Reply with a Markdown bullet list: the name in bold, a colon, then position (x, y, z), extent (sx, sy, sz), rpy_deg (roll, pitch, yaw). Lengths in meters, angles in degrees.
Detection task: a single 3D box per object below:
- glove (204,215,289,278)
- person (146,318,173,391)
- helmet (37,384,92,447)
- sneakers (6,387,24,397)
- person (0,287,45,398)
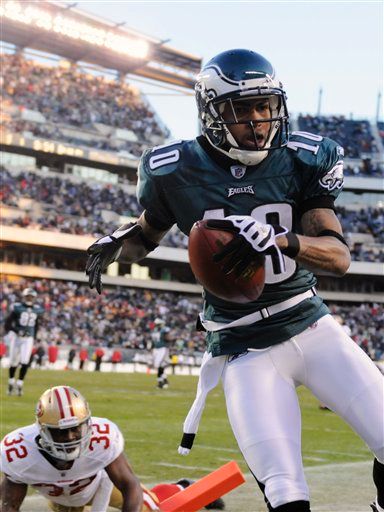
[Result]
- **glove**: position (0.196, -0.035, 1.957), extent (0.284, 0.175, 0.147), rpy_deg (6, -11, -25)
- **person**: position (-0.567, 1.515, 10.399), extent (0.557, 1.110, 0.442), rpy_deg (1, -14, -13)
- **helmet**: position (-0.543, 0.652, 2.684), extent (0.223, 0.180, 0.257), rpy_deg (-1, 2, -15)
- **sneakers**: position (-2.158, 1.633, 8.006), extent (0.205, 0.075, 0.270), rpy_deg (1, 3, -31)
- **person**: position (-2.082, 1.035, 8.016), extent (0.429, 1.291, 0.741), rpy_deg (5, -11, -12)
